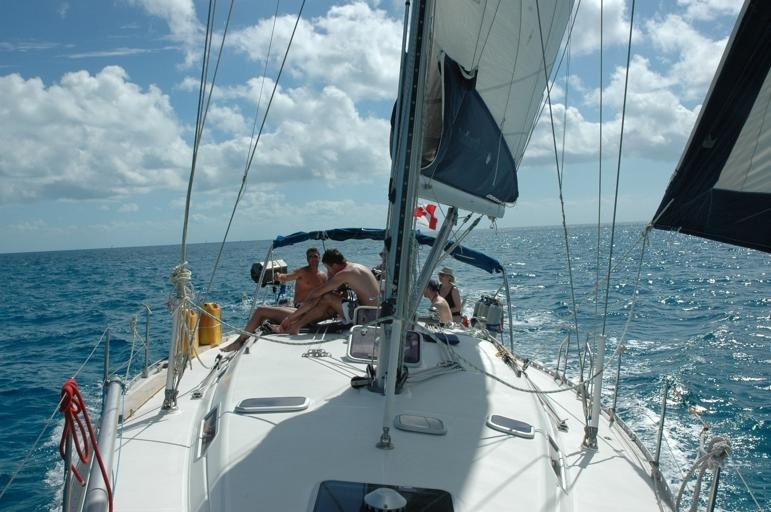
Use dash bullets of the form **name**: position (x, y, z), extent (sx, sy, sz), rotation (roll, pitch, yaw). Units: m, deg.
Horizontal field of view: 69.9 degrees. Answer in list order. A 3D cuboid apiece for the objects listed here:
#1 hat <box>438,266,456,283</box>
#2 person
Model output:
- **hat**: position (1.070, 0.311, 9.449), extent (0.291, 0.120, 0.260), rotation (31, -24, -22)
- **person**: position (-0.689, 0.564, 7.166), extent (2.243, 1.366, 0.964), rotation (-8, -6, -3)
